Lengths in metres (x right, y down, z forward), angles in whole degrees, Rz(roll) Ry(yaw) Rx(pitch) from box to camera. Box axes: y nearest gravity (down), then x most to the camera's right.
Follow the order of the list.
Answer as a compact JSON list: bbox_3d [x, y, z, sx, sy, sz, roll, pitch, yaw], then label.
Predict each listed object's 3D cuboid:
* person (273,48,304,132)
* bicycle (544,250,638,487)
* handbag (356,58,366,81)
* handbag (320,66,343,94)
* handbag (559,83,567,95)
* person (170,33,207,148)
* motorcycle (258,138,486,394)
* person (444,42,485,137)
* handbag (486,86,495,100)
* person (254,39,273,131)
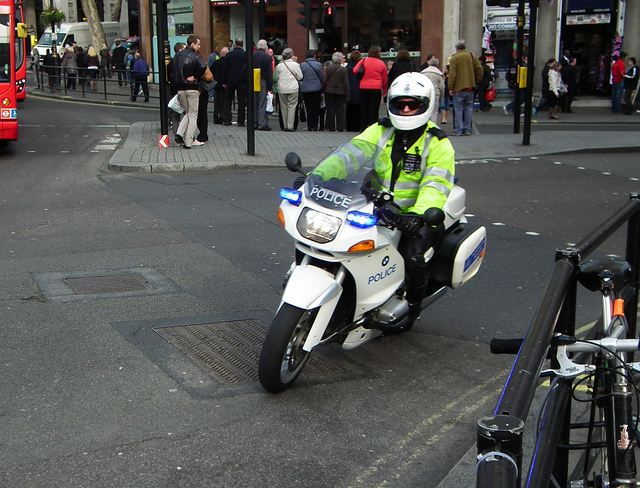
[{"bbox_3d":[-0.811,-4.096,17.563,0.661,2.109,0.816,-9,17,-28],"label":"person"},{"bbox_3d":[1.154,0.544,2.768,0.361,0.808,0.851,6,16,22],"label":"bicycle"},{"bbox_3d":[1.036,-4.390,16.659,0.190,0.508,0.296,1,15,5],"label":"handbag"},{"bbox_3d":[0.323,-4.207,16.950,0.150,0.585,0.554,37,42,28],"label":"handbag"},{"bbox_3d":[8.415,-5.364,22.775,0.188,0.416,0.914,5,17,22],"label":"handbag"},{"bbox_3d":[-2.766,-3.222,14.049,0.662,2.315,0.789,-6,16,-20],"label":"person"},{"bbox_3d":[0.411,0.049,5.021,1.000,1.670,2.548,15,20,32],"label":"motorcycle"},{"bbox_3d":[3.744,-4.093,17.352,0.873,2.410,0.826,-2,6,-17],"label":"person"},{"bbox_3d":[6.247,-5.493,24.128,0.308,0.573,0.201,30,-25,-33],"label":"handbag"},{"bbox_3d":[-1.510,-4.263,17.720,0.523,2.344,1.029,-2,15,-4],"label":"person"}]
